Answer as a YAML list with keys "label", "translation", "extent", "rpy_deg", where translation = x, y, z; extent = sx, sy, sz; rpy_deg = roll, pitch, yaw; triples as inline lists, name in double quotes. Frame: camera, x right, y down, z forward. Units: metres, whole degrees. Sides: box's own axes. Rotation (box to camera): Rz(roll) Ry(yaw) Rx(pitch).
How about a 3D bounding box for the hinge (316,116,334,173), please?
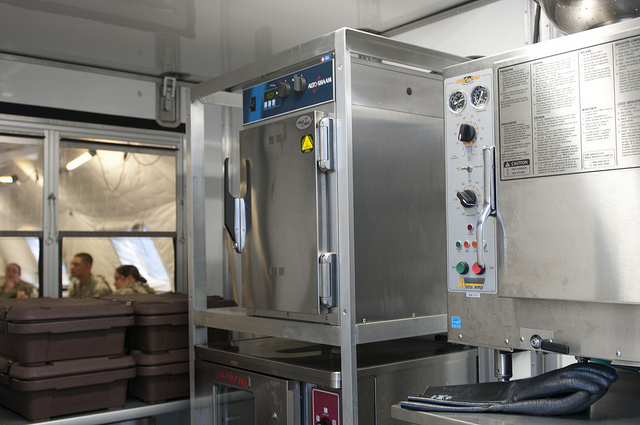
- label: "hinge"
  translation: [0.021, -0.301, 2.199]
  extent: [0.050, 0.240, 0.080]
  rpy_deg: [-7, -9, 43]

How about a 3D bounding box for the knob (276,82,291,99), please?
- label: "knob"
  translation: [-0.187, -0.591, 2.418]
  extent: [0.092, 0.079, 0.041]
  rpy_deg: [-7, -9, 41]

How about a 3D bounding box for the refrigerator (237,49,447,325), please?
- label: "refrigerator"
  translation: [0.080, -0.106, 2.721]
  extent: [1.251, 1.339, 1.366]
  rpy_deg: [0, 0, -21]

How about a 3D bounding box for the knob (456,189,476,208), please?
- label: "knob"
  translation: [0.549, -0.054, 1.870]
  extent: [0.066, 0.066, 0.028]
  rpy_deg: [-3, -7, 19]

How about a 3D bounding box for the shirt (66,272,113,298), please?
- label: "shirt"
  translation: [-1.956, 0.634, 4.250]
  extent: [0.345, 0.343, 0.190]
  rpy_deg: [3, -10, -19]

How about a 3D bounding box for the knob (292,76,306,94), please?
- label: "knob"
  translation: [-0.097, -0.599, 2.341]
  extent: [0.059, 0.074, 0.035]
  rpy_deg: [-1, -7, 3]

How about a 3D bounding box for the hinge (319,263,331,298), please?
- label: "hinge"
  translation: [0.025, 0.293, 2.184]
  extent: [0.042, 0.184, 0.065]
  rpy_deg: [10, -15, -41]

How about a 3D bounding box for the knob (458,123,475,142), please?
- label: "knob"
  translation: [0.549, -0.298, 1.871]
  extent: [0.058, 0.086, 0.060]
  rpy_deg: [5, -2, 21]
